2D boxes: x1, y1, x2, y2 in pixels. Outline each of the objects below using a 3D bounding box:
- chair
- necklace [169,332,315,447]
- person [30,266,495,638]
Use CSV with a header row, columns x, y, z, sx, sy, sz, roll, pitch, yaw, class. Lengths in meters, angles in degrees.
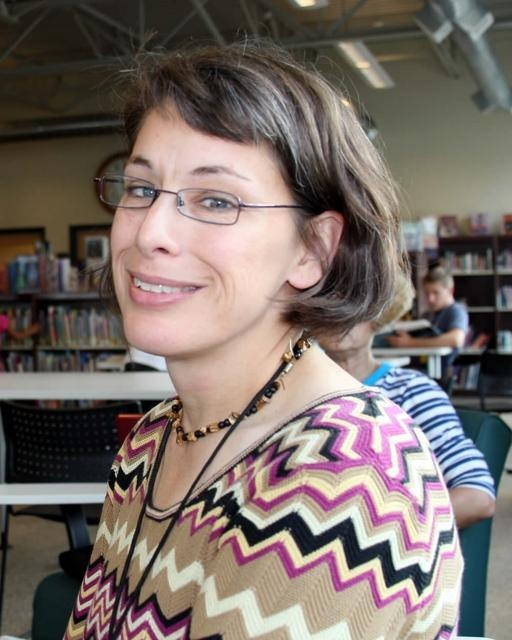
x,y,z,sx,sy,sz,roll,pitch,yaw,class
-0.583,0.487,2.052,0.458,0.553,0.441,1,3,1,chair
-0.021,0.095,0.691,0.157,0.022,0.124,-37,1,13,necklace
-0.006,0.407,1.658,0.985,0.986,0.788,9,-22,-16,person
